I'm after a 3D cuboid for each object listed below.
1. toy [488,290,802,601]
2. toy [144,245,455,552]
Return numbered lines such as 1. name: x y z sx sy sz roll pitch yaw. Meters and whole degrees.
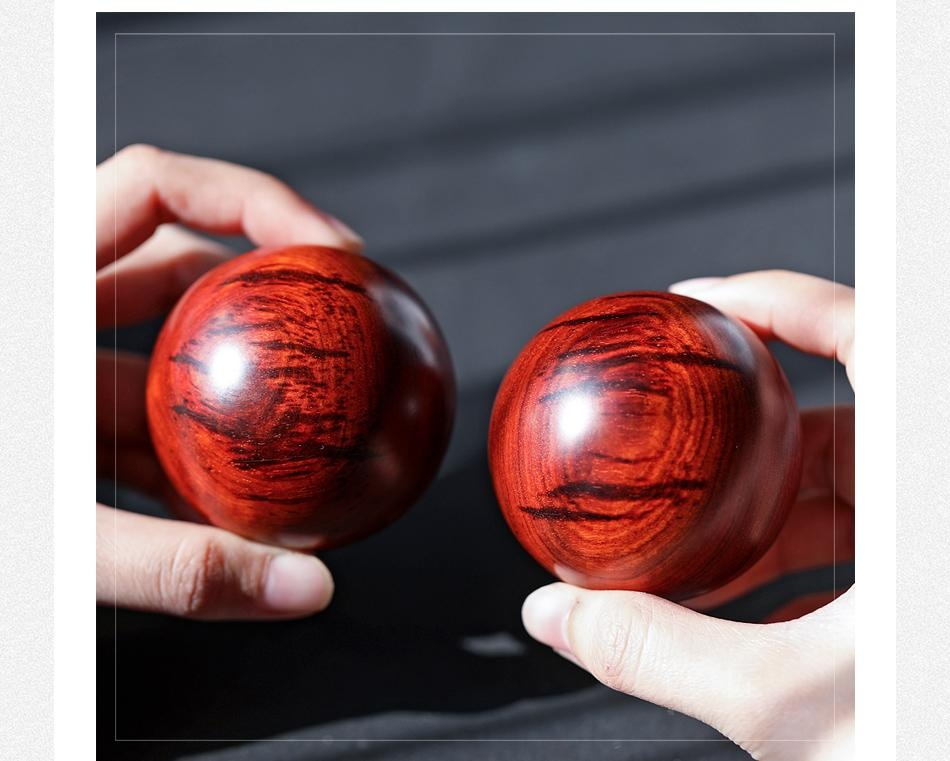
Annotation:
1. toy: 0.176 0.063 1.051 0.298 0.363 0.312 -16 16 -7
2. toy: -0.207 0.036 1.040 0.311 0.360 0.299 -20 52 -35
